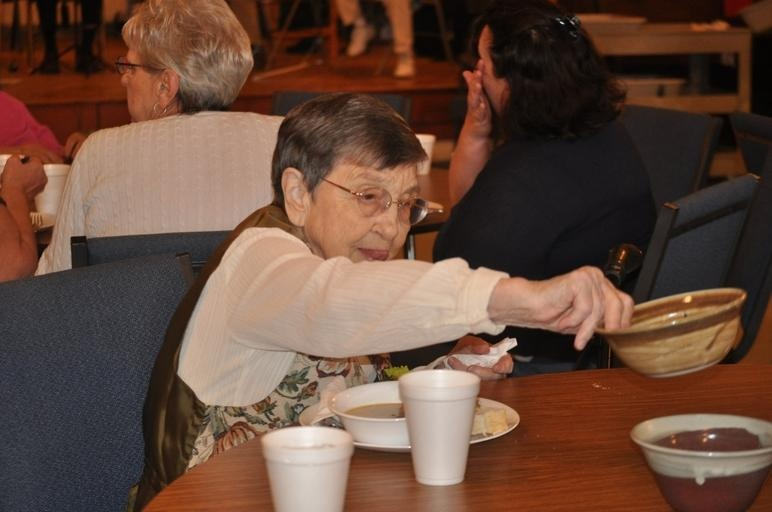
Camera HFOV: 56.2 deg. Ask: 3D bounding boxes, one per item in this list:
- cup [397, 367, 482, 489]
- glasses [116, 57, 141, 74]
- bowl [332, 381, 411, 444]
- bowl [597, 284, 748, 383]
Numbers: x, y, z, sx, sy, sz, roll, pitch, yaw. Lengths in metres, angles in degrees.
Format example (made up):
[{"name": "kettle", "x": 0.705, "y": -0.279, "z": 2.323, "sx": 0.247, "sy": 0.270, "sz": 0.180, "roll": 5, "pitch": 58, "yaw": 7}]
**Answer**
[{"name": "cup", "x": 0.106, "y": 0.273, "z": 1.276, "sx": 0.179, "sy": 0.196, "sz": 0.176, "roll": 0, "pitch": 11, "yaw": 0}, {"name": "glasses", "x": -0.894, "y": -0.658, "z": 2.510, "sx": 0.086, "sy": 0.027, "sz": 0.081, "roll": 0, "pitch": 9, "yaw": -24}, {"name": "bowl", "x": -0.015, "y": 0.306, "z": 1.366, "sx": 0.180, "sy": 0.062, "sz": 0.180, "roll": -2, "pitch": 10, "yaw": 0}, {"name": "bowl", "x": 0.530, "y": 0.173, "z": 1.390, "sx": 0.262, "sy": 0.105, "sz": 0.262, "roll": -9, "pitch": -5, "yaw": -1}]
